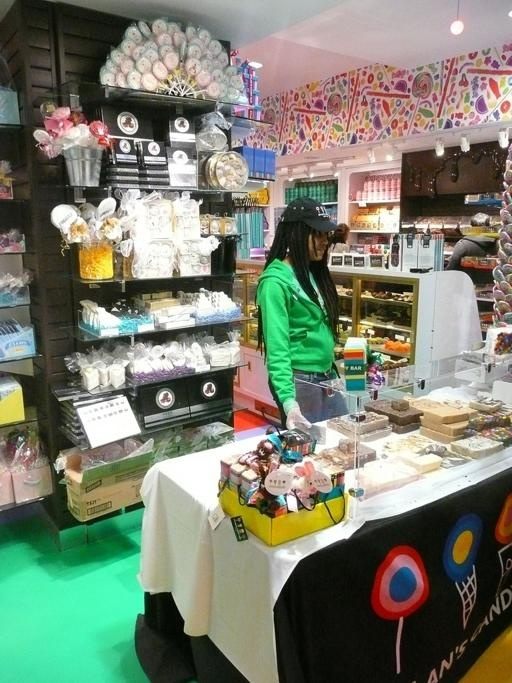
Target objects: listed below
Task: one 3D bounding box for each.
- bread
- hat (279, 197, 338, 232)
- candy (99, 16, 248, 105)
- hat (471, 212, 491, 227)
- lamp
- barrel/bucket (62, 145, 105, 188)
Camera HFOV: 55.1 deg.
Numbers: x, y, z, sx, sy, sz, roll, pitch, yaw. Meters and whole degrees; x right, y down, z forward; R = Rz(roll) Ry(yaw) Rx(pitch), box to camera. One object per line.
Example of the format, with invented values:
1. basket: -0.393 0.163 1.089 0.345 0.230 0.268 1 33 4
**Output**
1. bread: 0.875 -0.125 3.465 0.228 0.719 0.431 -11 33 -30
2. hat: 0.212 -0.513 1.978 0.217 0.108 0.135 6 21 16
3. candy: -0.410 -1.426 2.524 0.211 0.403 0.808 6 10 40
4. hat: 2.235 -1.196 4.882 0.162 0.109 0.154 -4 25 4
5. lamp: 1.599 -2.108 5.548 0.365 0.187 2.378 -4 7 -39
6. barrel/bucket: -0.769 -0.776 2.200 0.192 0.151 0.175 1 16 0
